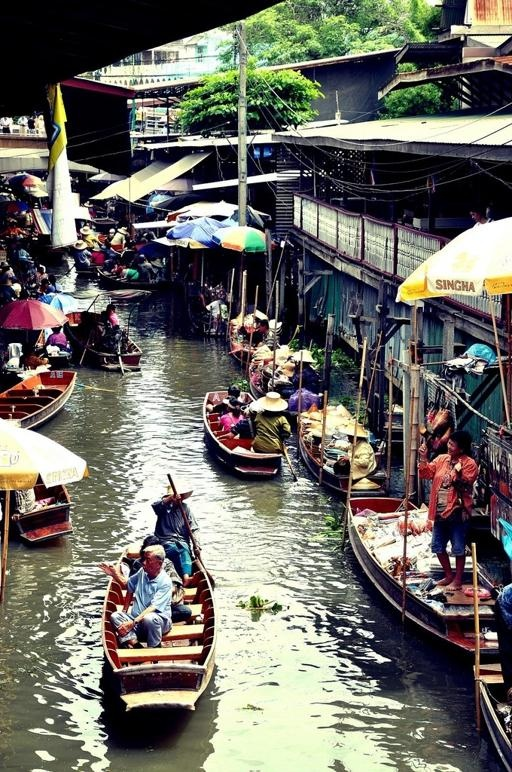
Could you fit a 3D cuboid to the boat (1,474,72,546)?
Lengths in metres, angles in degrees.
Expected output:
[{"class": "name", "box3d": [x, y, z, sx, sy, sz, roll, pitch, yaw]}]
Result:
[{"class": "boat", "box3d": [-2.828, 1.595, 13.610, 0.537, 0.365, 0.951, -5, 17, -21]}]

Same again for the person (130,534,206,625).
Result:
[{"class": "person", "box3d": [-0.857, 1.908, 10.241, 0.393, 0.241, 1.377, 1, 15, -6]}]

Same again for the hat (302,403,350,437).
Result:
[{"class": "hat", "box3d": [1.138, 0.471, 17.509, 0.566, 0.140, 0.554, -14, 21, -36]}]

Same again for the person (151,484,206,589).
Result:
[{"class": "person", "box3d": [-0.891, 1.670, 11.709, 0.449, 1.102, 0.493, -7, -6, 38]}]

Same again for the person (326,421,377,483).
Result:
[{"class": "person", "box3d": [1.435, 0.920, 15.235, 0.720, 1.017, 0.852, 2, -11, -3]}]

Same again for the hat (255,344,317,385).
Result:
[{"class": "hat", "box3d": [0.465, -0.464, 21.299, 0.806, 0.479, 1.105, -2, 10, -8]}]

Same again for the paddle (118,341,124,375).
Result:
[{"class": "paddle", "box3d": [-3.111, -0.632, 24.208, 0.134, 0.790, 0.120, 1, -33, -21]}]

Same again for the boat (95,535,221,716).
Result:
[{"class": "boat", "box3d": [-0.801, 2.387, 9.517, 0.929, 0.411, 3.207, -2, -2, -4]}]

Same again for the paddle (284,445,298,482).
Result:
[{"class": "paddle", "box3d": [0.563, 1.349, 16.503, 0.098, 0.978, 0.053, -11, 30, 8]}]

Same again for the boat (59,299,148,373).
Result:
[{"class": "boat", "box3d": [-3.564, -1.101, 24.669, 1.025, 1.297, 2.114, -11, 17, -42]}]

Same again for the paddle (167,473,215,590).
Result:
[{"class": "paddle", "box3d": [-0.763, 1.751, 12.431, 0.181, 1.356, 0.152, -17, -9, -47]}]

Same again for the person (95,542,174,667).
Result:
[{"class": "person", "box3d": [-1.026, 1.947, 9.502, 0.532, 0.989, 0.642, 2, 3, -41]}]
